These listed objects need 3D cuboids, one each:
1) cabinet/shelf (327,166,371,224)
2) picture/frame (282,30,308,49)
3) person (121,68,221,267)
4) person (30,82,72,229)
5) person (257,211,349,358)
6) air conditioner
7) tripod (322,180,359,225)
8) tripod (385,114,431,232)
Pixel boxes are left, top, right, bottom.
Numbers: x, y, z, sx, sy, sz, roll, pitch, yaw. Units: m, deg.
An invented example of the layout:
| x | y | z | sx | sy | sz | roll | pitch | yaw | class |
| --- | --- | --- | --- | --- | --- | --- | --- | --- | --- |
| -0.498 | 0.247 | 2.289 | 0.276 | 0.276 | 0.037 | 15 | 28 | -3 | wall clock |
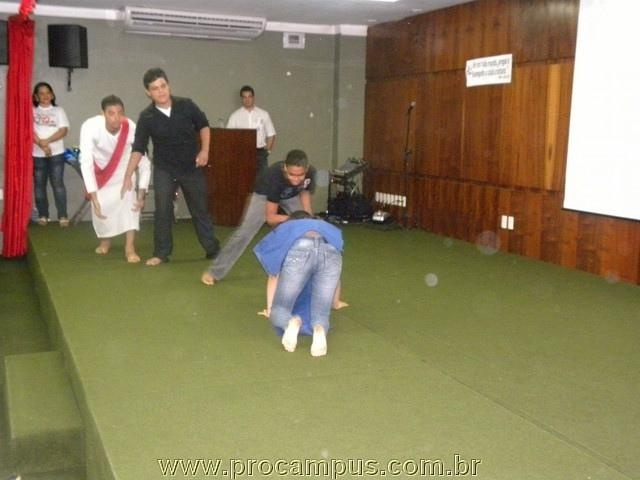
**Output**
| x | y | z | sx | sy | sz | roll | pitch | yaw | class |
| --- | --- | --- | --- | --- | --- | --- | --- | --- | --- |
| 0.486 | -0.740 | 7.926 | 0.813 | 0.848 | 0.820 | -3 | 6 | -36 | cabinet/shelf |
| -0.410 | -3.221 | 8.207 | 0.359 | 0.250 | 0.260 | -1 | 18 | -13 | picture/frame |
| -1.408 | -0.550 | 4.886 | 0.851 | 1.614 | 0.291 | -1 | 13 | -13 | person |
| -3.590 | -1.137 | 6.772 | 0.469 | 1.843 | 0.514 | -5 | 14 | -30 | person |
| -0.111 | 0.233 | 3.059 | 0.444 | 0.538 | 0.934 | 2 | 49 | -6 | person |
| -1.764 | -3.069 | 7.183 | 1.848 | 0.318 | 0.351 | -3 | 14 | -20 | air conditioner |
| 0.395 | -0.591 | 7.866 | 0.650 | 0.776 | 0.657 | 0 | 7 | 8 | tripod |
| 1.224 | -1.167 | 7.580 | 0.148 | 1.751 | 0.538 | -4 | 14 | -23 | tripod |
